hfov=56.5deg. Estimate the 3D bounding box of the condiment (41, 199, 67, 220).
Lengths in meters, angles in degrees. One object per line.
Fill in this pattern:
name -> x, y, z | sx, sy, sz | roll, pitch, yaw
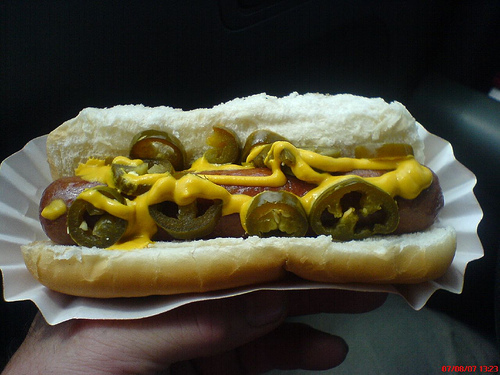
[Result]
condiment -> -1.610, 0.181, 3.859 | 0.191, 0.064, 0.143 | -42, 69, -7
